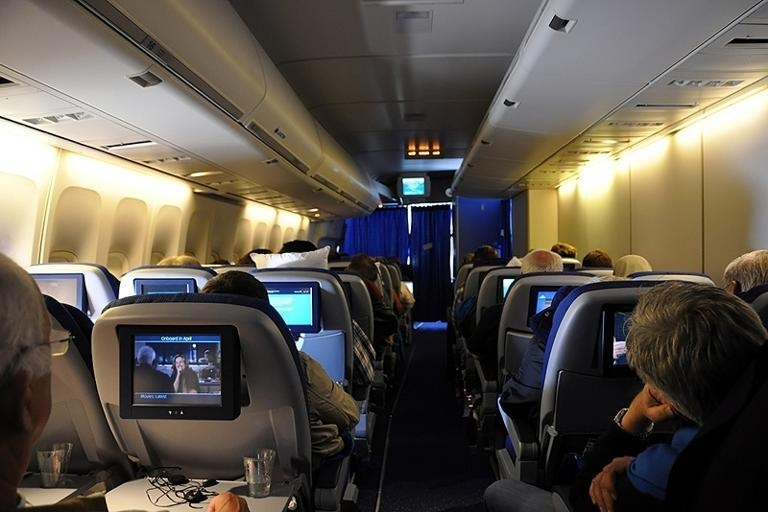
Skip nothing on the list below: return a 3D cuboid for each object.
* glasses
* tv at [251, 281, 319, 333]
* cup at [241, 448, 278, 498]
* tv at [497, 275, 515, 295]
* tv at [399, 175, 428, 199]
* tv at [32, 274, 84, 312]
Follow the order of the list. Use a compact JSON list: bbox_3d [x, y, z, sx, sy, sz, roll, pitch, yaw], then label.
[{"bbox_3d":[-1.058,0.316,1.649,0.187,0.058,0.193,-5,11,45],"label":"glasses"},{"bbox_3d":[-0.563,0.286,3.022,0.402,0.298,0.054,0,4,3],"label":"tv"},{"bbox_3d":[-0.538,0.937,2.255,0.159,0.167,0.156,-2,-2,0],"label":"cup"},{"bbox_3d":[1.052,0.276,4.544,0.194,0.176,0.046,0,12,-16],"label":"tv"},{"bbox_3d":[0.660,-1.515,11.678,0.799,0.693,0.433,1,5,8],"label":"tv"},{"bbox_3d":[-1.846,0.204,2.985,0.326,0.319,0.034,-1,5,-4],"label":"tv"}]
